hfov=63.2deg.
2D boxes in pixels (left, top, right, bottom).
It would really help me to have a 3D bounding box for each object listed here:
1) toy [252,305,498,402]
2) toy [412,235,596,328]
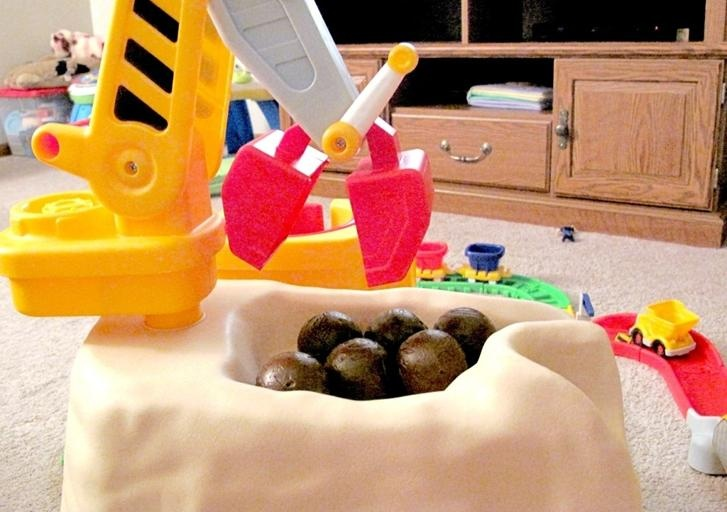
[{"bbox_3d":[0.023,0.109,0.656,0.215,0.061,0.116,-10,4,8],"label":"toy"},{"bbox_3d":[0.331,0.058,1.529,0.314,0.086,0.218,7,14,16],"label":"toy"}]
